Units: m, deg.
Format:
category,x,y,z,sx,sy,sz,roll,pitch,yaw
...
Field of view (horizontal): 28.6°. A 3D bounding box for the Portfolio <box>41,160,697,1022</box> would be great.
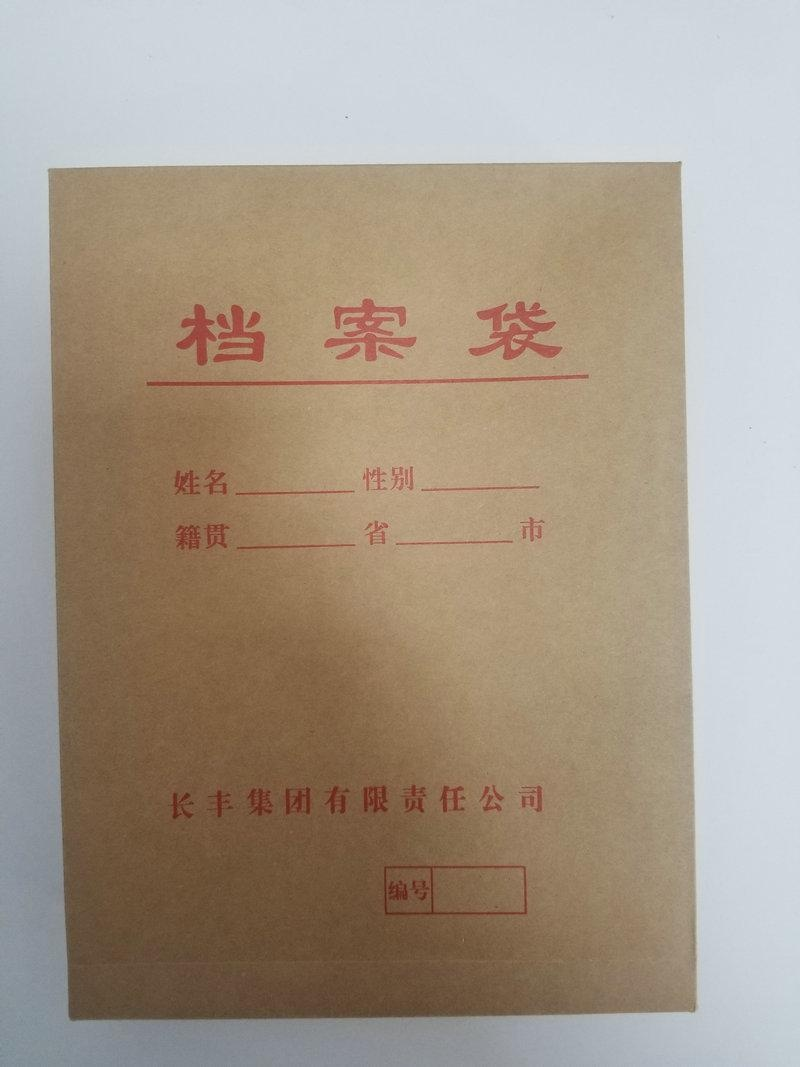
category,x,y,z,sx,sy,sz,roll,pitch,yaw
Portfolio,-0.046,0.077,2.034,0.880,0.087,1.088,1,91,0
